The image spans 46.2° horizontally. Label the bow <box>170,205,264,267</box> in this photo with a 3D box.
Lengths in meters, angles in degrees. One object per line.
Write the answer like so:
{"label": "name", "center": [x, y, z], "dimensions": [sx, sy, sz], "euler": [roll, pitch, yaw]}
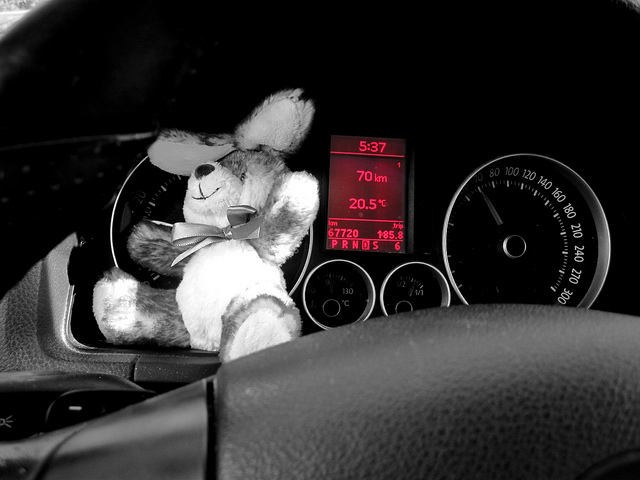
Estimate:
{"label": "bow", "center": [-0.227, -0.024, 1.660], "dimensions": [0.169, 0.074, 0.106], "euler": [-33, 54, -31]}

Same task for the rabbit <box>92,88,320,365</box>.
{"label": "rabbit", "center": [-0.250, -0.042, 1.746], "dimensions": [0.526, 0.362, 0.631], "euler": [-2, 82, 27]}
